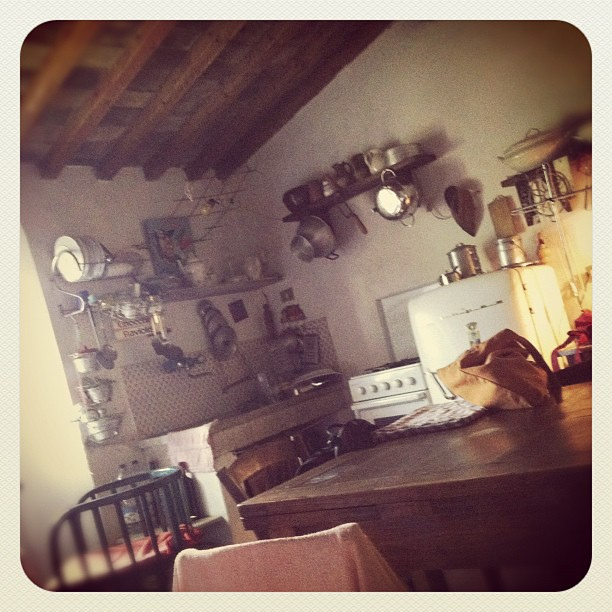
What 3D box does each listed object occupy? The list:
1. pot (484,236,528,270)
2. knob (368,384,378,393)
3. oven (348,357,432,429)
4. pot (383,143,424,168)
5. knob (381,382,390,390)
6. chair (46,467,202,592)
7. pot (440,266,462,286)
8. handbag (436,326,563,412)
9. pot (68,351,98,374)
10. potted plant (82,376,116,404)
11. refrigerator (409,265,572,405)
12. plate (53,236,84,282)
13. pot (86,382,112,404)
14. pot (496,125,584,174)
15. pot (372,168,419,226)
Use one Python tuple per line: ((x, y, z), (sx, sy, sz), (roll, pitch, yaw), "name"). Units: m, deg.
((0.819, -0.233, 2.435), (0.162, 0.117, 0.142), (-15, -9, -7), "pot")
((0.308, 0.386, 2.721), (0.034, 0.020, 0.034), (9, -13, 8), "knob")
((0.376, 0.386, 2.547), (0.332, 0.284, 0.244), (-22, -12, 33), "oven")
((0.437, -0.672, 2.632), (0.135, 0.045, 0.119), (-13, -2, -16), "pot")
((0.362, 0.371, 2.683), (0.036, 0.031, 0.019), (25, 29, 36), "knob")
((-0.740, 0.869, 2.243), (0.444, 0.216, 0.542), (-6, -11, -1), "chair")
((0.609, -0.128, 2.488), (0.094, 0.032, 0.068), (-28, 16, -16), "pot")
((0.630, 0.181, 1.910), (0.357, 0.131, 0.414), (-2, 16, 32), "handbag")
((-0.978, 0.248, 2.545), (0.099, 0.080, 0.107), (-1, 4, 0), "pot")
((-0.922, 0.374, 2.574), (0.119, 0.075, 0.118), (-3, -5, 7), "potted plant")
((0.731, 0.069, 2.403), (0.626, 0.524, 0.198), (-16, 3, 31), "refrigerator")
((-1.061, -0.209, 2.588), (0.127, 0.220, 0.045), (-20, 1, -5), "plate")
((-0.922, 0.385, 2.573), (0.082, 0.061, 0.095), (-16, 10, -7), "pot")
((0.916, -0.607, 2.279), (0.235, 0.086, 0.189), (-22, -3, 8), "pot")
((0.431, -0.523, 2.762), (0.252, 0.334, 0.122), (17, 48, 34), "pot")
